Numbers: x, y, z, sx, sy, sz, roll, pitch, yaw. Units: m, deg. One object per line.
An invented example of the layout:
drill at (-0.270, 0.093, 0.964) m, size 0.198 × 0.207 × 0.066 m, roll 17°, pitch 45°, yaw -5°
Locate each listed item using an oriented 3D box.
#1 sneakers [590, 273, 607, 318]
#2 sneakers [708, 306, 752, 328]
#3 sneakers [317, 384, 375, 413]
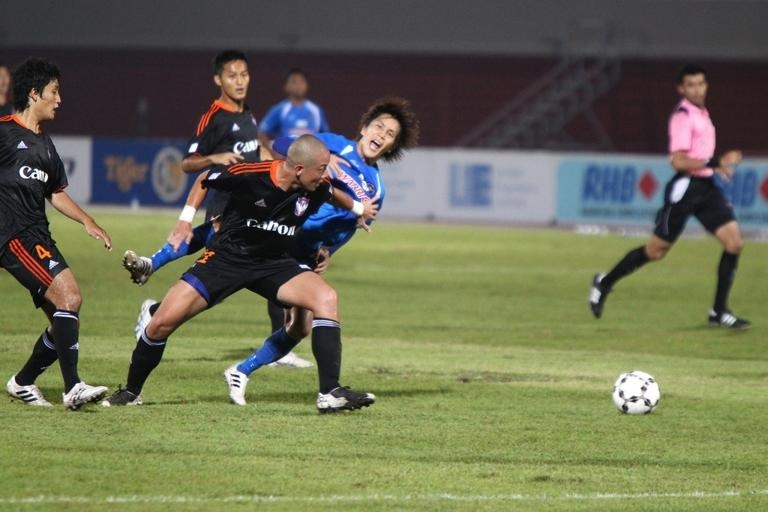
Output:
sneakers at (2.699, 0.499, 16.314) m, size 0.207 × 0.552 × 0.255 m, roll 3°, pitch 9°, yaw -16°
sneakers at (4.206, 0.769, 16.070) m, size 0.552 × 0.195 × 0.207 m, roll 1°, pitch 4°, yaw 30°
sneakers at (-0.373, 1.379, 12.757) m, size 0.627 × 0.270 × 0.228 m, roll -6°, pitch 4°, yaw 9°
